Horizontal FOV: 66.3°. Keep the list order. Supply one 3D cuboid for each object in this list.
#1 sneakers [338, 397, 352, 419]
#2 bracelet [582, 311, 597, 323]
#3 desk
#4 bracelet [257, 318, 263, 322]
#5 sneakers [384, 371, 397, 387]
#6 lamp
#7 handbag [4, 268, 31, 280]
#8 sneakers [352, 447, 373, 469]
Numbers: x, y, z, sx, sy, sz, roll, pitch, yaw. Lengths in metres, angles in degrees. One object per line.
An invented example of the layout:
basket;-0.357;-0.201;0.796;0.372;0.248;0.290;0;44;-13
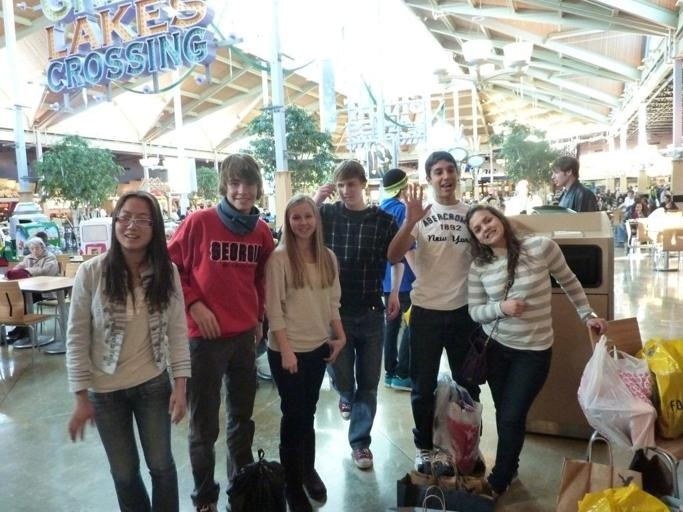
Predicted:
sneakers;0.033;1.200;4.032;0.085;0.099;0.242;4;20;0
bracelet;1.491;0.369;3.120;0.058;0.069;0.050;24;-3;-34
desk;-3.465;0.688;5.884;0.660;0.675;0.637;6;18;4
bracelet;-0.500;0.398;3.201;0.021;0.017;0.029;-6;3;44
sneakers;0.423;1.101;4.617;0.054;0.069;0.154;4;3;18
lamp;3.209;-3.977;10.646;1.135;1.179;3.545;0;4;18
handbag;-4.095;0.218;6.645;0.153;0.077;0.207;3;1;22
sneakers;0.133;1.346;3.484;0.167;0.118;0.131;0;4;18
